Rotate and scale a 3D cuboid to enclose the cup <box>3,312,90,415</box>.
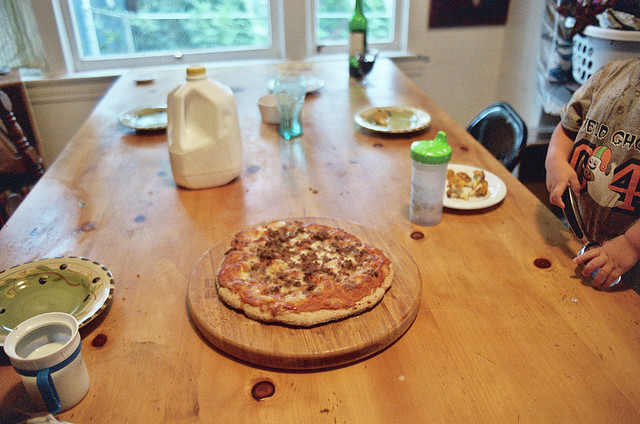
[{"bbox_3d":[-0.597,0.335,1.075,0.147,0.179,0.156,-2,33,1],"label":"cup"}]

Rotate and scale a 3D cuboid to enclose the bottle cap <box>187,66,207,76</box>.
[{"bbox_3d":[-0.406,-0.462,1.570,0.057,0.028,0.049,-4,32,-1],"label":"bottle cap"}]

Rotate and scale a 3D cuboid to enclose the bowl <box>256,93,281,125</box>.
[{"bbox_3d":[-0.228,-0.442,2.078,0.131,0.085,0.122,1,33,0],"label":"bowl"}]

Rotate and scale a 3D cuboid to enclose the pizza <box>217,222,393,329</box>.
[{"bbox_3d":[-0.033,0.152,1.269,0.441,0.086,0.346,1,32,7],"label":"pizza"}]

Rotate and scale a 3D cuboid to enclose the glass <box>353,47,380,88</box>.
[{"bbox_3d":[0.227,-0.734,2.441,0.159,0.199,0.165,8,23,25],"label":"glass"}]
